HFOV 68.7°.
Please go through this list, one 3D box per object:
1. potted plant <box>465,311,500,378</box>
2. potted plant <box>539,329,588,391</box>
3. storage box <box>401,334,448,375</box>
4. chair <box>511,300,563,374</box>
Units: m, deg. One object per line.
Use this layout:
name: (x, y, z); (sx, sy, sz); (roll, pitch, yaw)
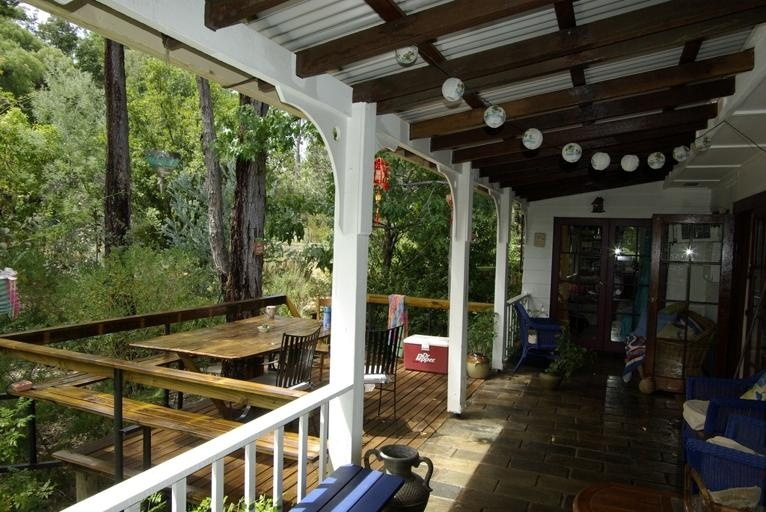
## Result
potted plant: (1.545, 1.403, 8.890); (0.461, 1.044, 0.546); (0, 0, -4)
potted plant: (2.744, 1.561, 8.400); (0.679, 0.626, 0.864); (4, -10, -42)
storage box: (0.710, 1.420, 8.960); (0.838, 0.516, 0.503); (0, -3, 30)
chair: (2.564, 1.262, 9.252); (0.755, 0.898, 0.788); (4, 4, 0)
